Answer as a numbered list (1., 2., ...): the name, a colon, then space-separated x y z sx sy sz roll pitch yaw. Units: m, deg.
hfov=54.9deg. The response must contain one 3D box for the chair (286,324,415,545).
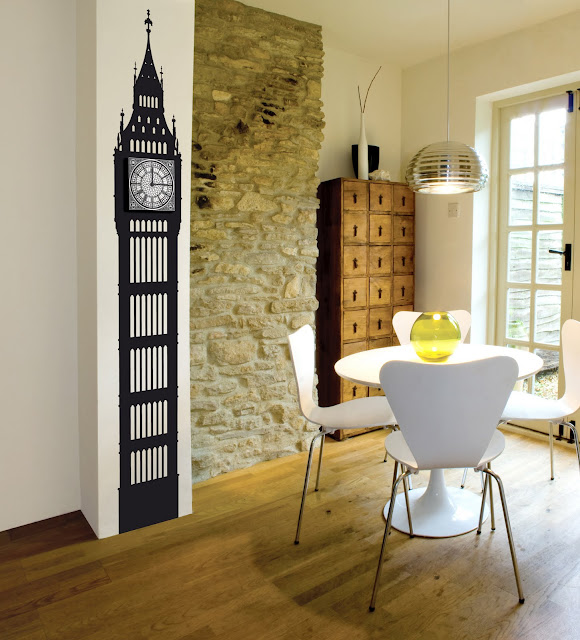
1. chair: 0.292 0.542 2.541 0.484 0.771 0.470 -4 -19 -9

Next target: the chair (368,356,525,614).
1. chair: 0.526 0.524 2.016 0.511 0.785 0.539 -2 2 0

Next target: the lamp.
1. lamp: 0.865 -1.183 3.038 0.363 1.073 1.748 1 8 16
